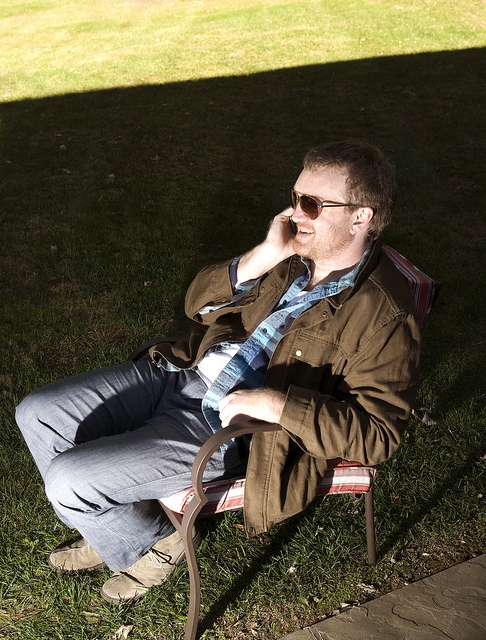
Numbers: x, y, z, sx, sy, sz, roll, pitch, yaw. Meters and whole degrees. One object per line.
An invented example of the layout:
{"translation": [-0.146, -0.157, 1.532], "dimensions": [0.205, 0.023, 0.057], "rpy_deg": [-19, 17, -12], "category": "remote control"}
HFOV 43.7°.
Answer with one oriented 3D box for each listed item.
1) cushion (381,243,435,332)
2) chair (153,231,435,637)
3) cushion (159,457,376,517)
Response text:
{"translation": [0.843, -0.166, 3.075], "dimensions": [0.165, 0.446, 0.317], "rpy_deg": [-28, 61, 16], "category": "cushion"}
{"translation": [-0.053, 0.357, 3.489], "dimensions": [1.948, 2.052, 1.449], "rpy_deg": [0, 16, -16], "category": "chair"}
{"translation": [0.073, 0.709, 2.598], "dimensions": [0.430, 0.093, 0.434], "rpy_deg": [-10, -2, -20], "category": "cushion"}
